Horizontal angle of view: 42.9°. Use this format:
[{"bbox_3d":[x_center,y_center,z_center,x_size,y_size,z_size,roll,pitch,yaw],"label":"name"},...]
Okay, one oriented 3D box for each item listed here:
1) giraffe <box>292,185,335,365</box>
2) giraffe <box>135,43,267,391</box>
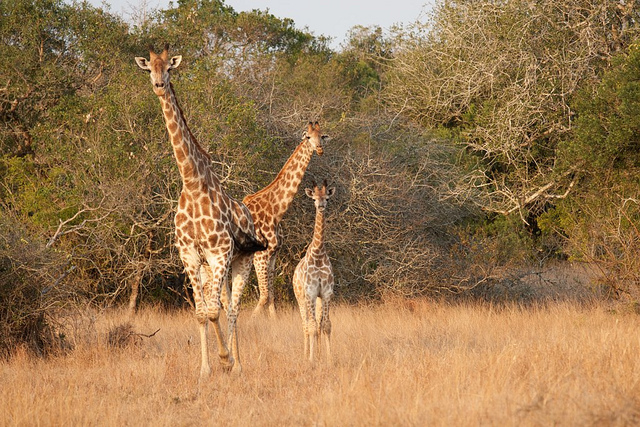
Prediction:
[{"bbox_3d":[-0.088,1.201,16.299,0.647,3.664,0.978,6,-15,-40],"label":"giraffe"},{"bbox_3d":[-2.267,0.085,15.585,0.859,6.344,2.642,-11,-14,34],"label":"giraffe"}]
